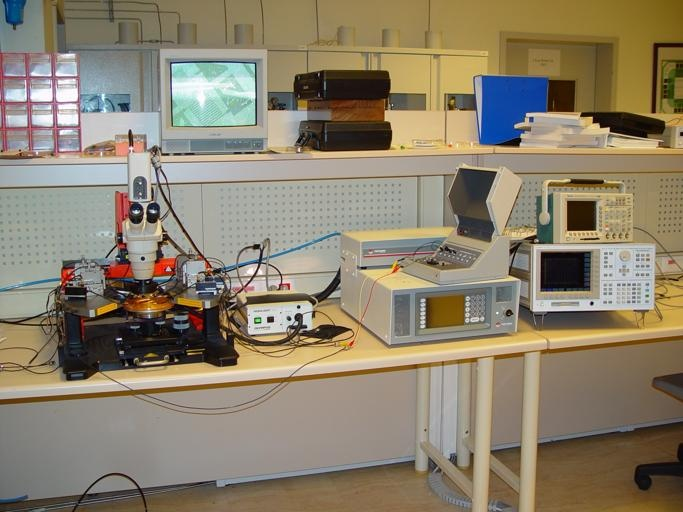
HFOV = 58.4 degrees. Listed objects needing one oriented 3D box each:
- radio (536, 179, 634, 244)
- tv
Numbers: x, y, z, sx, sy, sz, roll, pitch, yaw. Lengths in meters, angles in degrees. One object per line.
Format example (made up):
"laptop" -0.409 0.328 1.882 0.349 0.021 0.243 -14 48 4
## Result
"radio" 1.031 -0.191 2.599 0.389 0.257 0.224 -1 12 2
"tv" -0.536 -0.652 2.599 0.450 0.432 0.052 -4 12 -11
